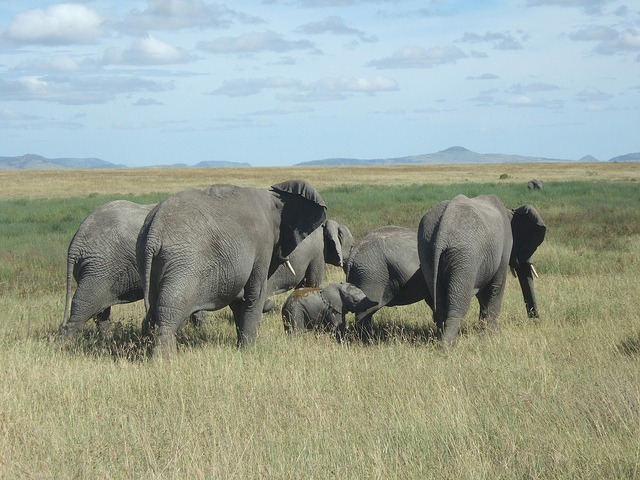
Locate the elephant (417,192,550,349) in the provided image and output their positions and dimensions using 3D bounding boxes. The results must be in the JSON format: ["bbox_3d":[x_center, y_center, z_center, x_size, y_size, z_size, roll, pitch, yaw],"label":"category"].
[{"bbox_3d":[2.784,0.424,13.959,1.631,2.492,3.823,4,3,38],"label":"elephant"}]

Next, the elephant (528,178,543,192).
[{"bbox_3d":[9.623,-2.478,36.330,0.492,0.633,0.977,-3,6,-10],"label":"elephant"}]

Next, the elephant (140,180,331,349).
[{"bbox_3d":[-1.190,0.356,12.501,2.099,2.578,3.613,7,6,38],"label":"elephant"}]

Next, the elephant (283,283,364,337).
[{"bbox_3d":[0.177,1.263,13.735,1.593,1.116,0.673,-3,8,-1],"label":"elephant"}]
